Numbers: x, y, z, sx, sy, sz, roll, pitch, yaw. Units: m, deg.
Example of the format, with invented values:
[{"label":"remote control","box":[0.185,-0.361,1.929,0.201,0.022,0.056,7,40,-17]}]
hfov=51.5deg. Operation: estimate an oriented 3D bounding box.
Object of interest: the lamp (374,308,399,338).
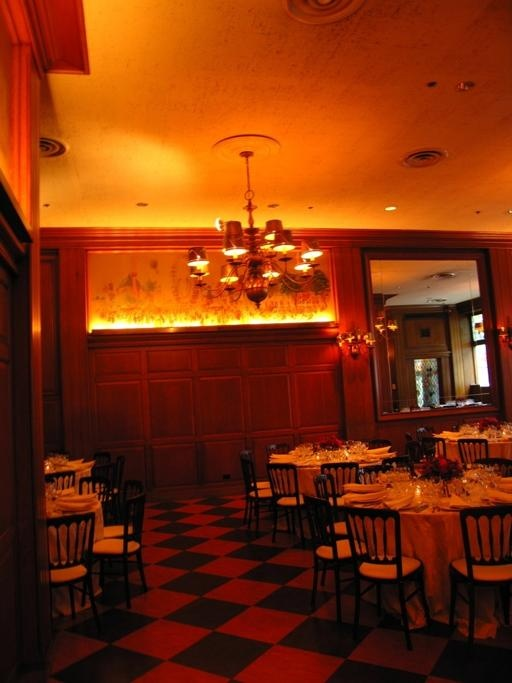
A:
[{"label":"lamp","box":[2.532,-0.360,10.493,0.531,0.547,0.557,-2,-13,2]}]

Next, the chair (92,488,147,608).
[{"label":"chair","box":[-1.250,1.820,4.757,0.497,0.893,0.418,-2,-8,2]}]

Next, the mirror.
[{"label":"mirror","box":[3.521,-0.032,10.771,3.363,3.798,0.256,1,-10,-14]}]

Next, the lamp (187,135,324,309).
[{"label":"lamp","box":[-0.019,-1.234,5.627,1.402,1.692,1.287,-3,-4,5]}]

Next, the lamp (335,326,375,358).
[{"label":"lamp","box":[1.813,0.064,9.945,0.751,0.528,0.488,0,-15,-14]}]
